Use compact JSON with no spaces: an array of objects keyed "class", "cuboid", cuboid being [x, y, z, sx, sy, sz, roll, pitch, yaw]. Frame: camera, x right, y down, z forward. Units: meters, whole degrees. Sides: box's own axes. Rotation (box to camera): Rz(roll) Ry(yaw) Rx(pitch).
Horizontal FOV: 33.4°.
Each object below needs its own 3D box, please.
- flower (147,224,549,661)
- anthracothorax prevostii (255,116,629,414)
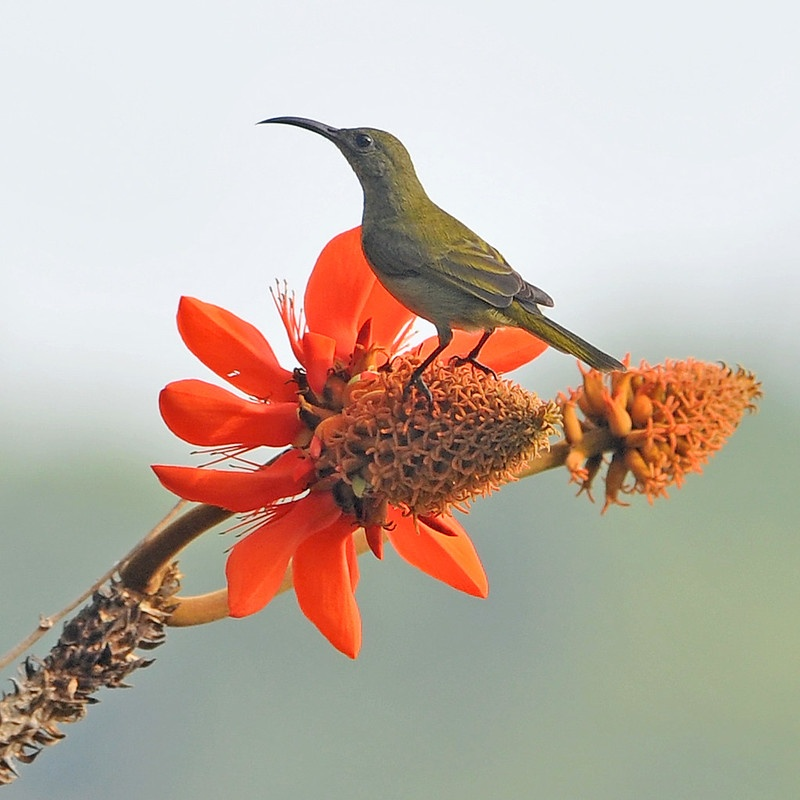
[{"class":"flower","cuboid":[-0.086,0.077,2.411,0.912,0.712,0.724,5,-1,-9]},{"class":"anthracothorax prevostii","cuboid":[0.100,-0.269,2.391,0.721,0.411,0.244,10,14,15]}]
